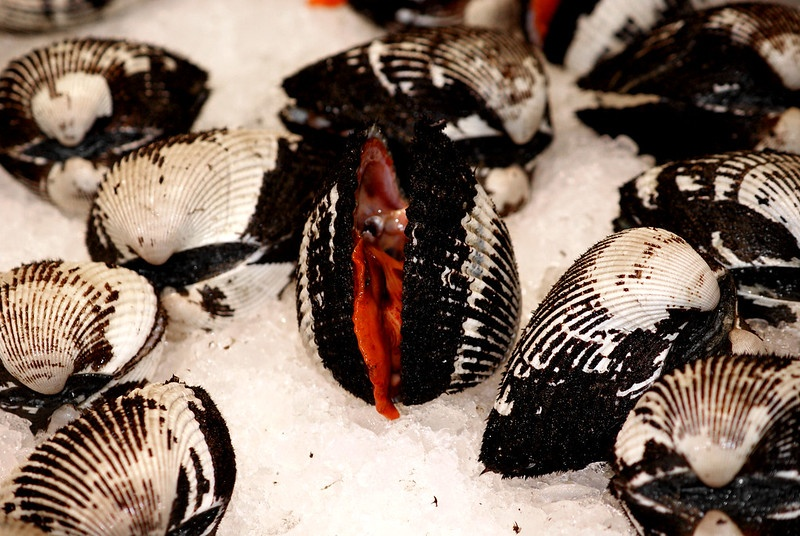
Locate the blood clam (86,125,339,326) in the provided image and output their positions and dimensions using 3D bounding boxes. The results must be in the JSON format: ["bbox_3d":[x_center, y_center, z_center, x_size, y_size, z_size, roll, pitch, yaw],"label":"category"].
[{"bbox_3d":[-0.449,-0.104,2.381,0.515,0.178,0.541,-28,78,-18],"label":"blood clam"}]
